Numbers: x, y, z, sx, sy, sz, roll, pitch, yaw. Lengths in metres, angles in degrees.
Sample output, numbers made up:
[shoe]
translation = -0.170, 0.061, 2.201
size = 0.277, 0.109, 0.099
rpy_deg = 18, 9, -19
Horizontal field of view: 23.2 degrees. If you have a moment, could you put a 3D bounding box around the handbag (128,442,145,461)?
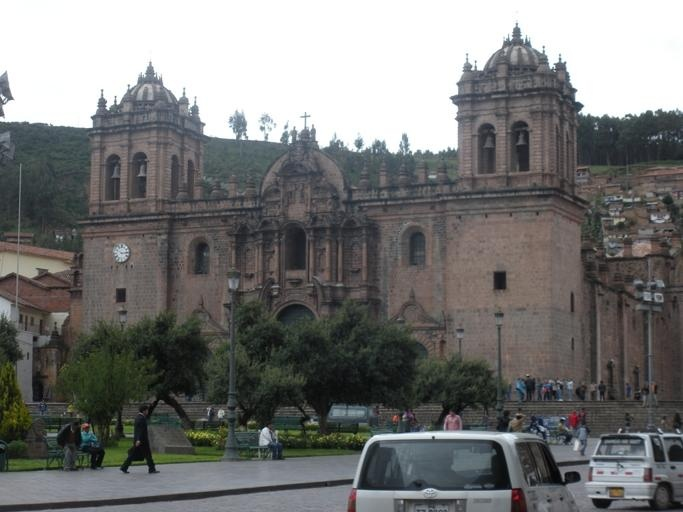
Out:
[handbag]
translation = -8.583, 8.031, 69.008
size = 0.808, 0.778, 0.559
rpy_deg = 13, -21, -29

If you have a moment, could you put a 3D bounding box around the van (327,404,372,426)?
[van]
translation = 0.457, 8.780, 93.981
size = 2.623, 1.273, 1.036
rpy_deg = -2, -7, 14

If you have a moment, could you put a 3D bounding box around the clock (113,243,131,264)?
[clock]
translation = -13.841, -0.111, 104.323
size = 0.963, 0.973, 0.164
rpy_deg = -25, -9, 8

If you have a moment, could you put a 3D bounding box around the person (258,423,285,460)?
[person]
translation = -3.248, 8.250, 74.936
size = 1.418, 1.627, 0.886
rpy_deg = -8, -11, 37
